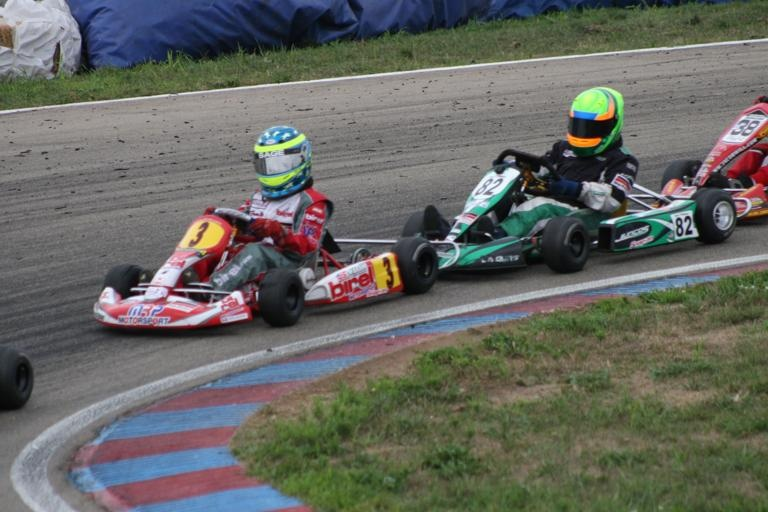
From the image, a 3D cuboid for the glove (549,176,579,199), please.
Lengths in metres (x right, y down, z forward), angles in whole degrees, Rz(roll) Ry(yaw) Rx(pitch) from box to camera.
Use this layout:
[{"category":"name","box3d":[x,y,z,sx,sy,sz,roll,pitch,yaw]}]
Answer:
[{"category":"glove","box3d":[1.613,-0.591,8.401,0.270,0.245,0.149,-4,23,8]}]

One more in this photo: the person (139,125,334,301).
[{"category":"person","box3d":[-1.674,-0.423,8.037,1.654,1.673,1.112,-1,4,-40]}]

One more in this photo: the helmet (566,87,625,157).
[{"category":"helmet","box3d":[1.939,-1.280,8.804,0.510,0.560,0.610,13,32,28]}]

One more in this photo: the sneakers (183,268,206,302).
[{"category":"sneakers","box3d":[-1.491,0.225,7.403,0.159,0.308,0.124,-13,23,-11]}]

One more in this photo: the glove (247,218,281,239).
[{"category":"glove","box3d":[-0.942,-0.224,7.546,0.188,0.087,0.164,-1,-6,38]}]

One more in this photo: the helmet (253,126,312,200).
[{"category":"helmet","box3d":[-0.885,-0.837,8.061,0.517,0.519,0.617,0,21,12]}]

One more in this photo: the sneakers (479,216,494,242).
[{"category":"sneakers","box3d":[0.882,-0.242,8.184,0.137,0.205,0.122,-5,22,7]}]

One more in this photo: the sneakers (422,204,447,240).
[{"category":"sneakers","box3d":[0.453,-0.309,8.330,0.237,0.301,0.144,-12,23,-11]}]
